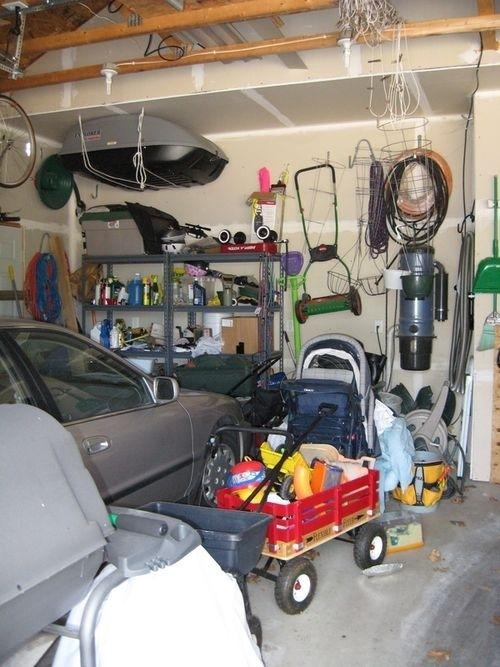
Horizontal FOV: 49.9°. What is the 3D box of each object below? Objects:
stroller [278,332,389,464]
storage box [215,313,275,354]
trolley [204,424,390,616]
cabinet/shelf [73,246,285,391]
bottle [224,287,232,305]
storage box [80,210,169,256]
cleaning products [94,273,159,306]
[{"bbox_3d":[0.522,0.318,3.320,0.641,0.761,0.720,2,10,28],"label":"stroller"},{"bbox_3d":[-0.047,-0.009,4.889,0.582,0.523,0.329,0,-1,20],"label":"storage box"},{"bbox_3d":[0.238,0.732,2.431,0.715,0.697,0.491,-2,8,-44],"label":"trolley"},{"bbox_3d":[-0.714,0.070,5.003,1.835,1.654,0.574,-3,0,-10],"label":"cabinet/shelf"},{"bbox_3d":[-0.205,-0.341,4.897,0.074,0.158,0.122,-1,1,-2],"label":"bottle"},{"bbox_3d":[-1.203,-0.959,5.019,0.511,0.345,0.683,1,5,4],"label":"storage box"},{"bbox_3d":[-1.217,-0.445,5.332,0.852,0.376,0.281,2,0,13],"label":"cleaning products"}]
